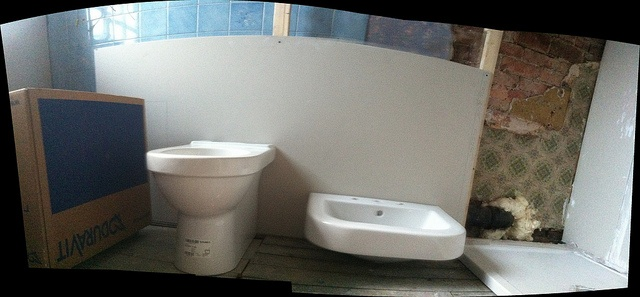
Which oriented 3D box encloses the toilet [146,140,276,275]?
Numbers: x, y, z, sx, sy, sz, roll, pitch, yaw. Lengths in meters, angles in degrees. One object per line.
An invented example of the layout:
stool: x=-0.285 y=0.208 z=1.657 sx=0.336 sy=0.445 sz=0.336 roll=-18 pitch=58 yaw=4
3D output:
toilet: x=-0.861 y=0.473 z=3.035 sx=1.011 sy=0.732 sz=1.020 roll=-1 pitch=-2 yaw=4

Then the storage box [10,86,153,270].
storage box: x=-1.662 y=0.188 z=2.751 sx=0.818 sy=1.220 sz=0.559 roll=-3 pitch=20 yaw=-22

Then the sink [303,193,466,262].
sink: x=0.469 y=0.622 z=2.926 sx=1.147 sy=0.378 sz=0.518 roll=3 pitch=16 yaw=0
